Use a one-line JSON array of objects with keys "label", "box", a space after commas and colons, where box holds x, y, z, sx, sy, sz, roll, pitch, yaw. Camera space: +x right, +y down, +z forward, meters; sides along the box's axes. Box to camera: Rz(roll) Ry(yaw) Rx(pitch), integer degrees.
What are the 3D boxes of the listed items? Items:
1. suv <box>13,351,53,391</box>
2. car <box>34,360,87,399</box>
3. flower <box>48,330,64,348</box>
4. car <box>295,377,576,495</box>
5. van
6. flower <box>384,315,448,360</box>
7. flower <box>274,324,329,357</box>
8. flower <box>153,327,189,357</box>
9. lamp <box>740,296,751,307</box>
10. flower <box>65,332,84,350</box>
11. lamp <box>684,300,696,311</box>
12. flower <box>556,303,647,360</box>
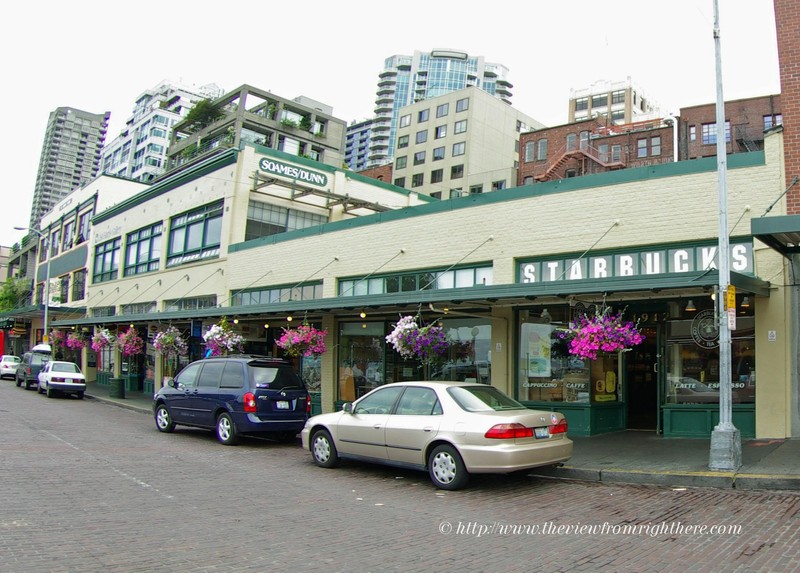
[{"label": "suv", "box": [-18.327, 4.203, 35.057, 1.691, 1.402, 3.160, 4, -2, -36]}, {"label": "car", "box": [-15.301, 4.159, 31.090, 1.386, 0.891, 3.020, 3, -3, -32]}, {"label": "flower", "box": [-18.957, 2.929, 38.059, 0.771, 0.895, 1.503, 1, 0, -26]}, {"label": "car", "box": [0.535, 2.861, 13.741, 4.703, 1.280, 2.079, -2, -6, 38]}, {"label": "van", "box": [-4.584, 2.923, 18.369, 4.198, 1.463, 2.076, -1, -7, 40]}, {"label": "flower", "box": [0.588, 1.524, 18.659, 1.538, 0.833, 1.347, -2, 1, 3]}, {"label": "flower", "box": [-3.115, 1.790, 22.047, 1.483, 0.921, 1.305, 3, -8, -1]}, {"label": "flower", "box": [-9.172, 2.239, 27.824, 1.260, 0.881, 1.100, 15, 25, 3]}, {"label": "lamp", "box": [7.977, 0.387, 15.824, 0.209, 0.269, 0.160, 1, 0, 34]}, {"label": "flower", "box": [-17.290, 2.917, 36.550, 1.131, 0.907, 1.045, -1, -4, 13]}, {"label": "lamp", "box": [7.107, 0.497, 16.826, 0.241, 0.257, 0.146, 1, 0, 32]}, {"label": "flower", "box": [4.930, 1.096, 15.965, 1.914, 0.999, 1.736, -2, 0, -27]}]
